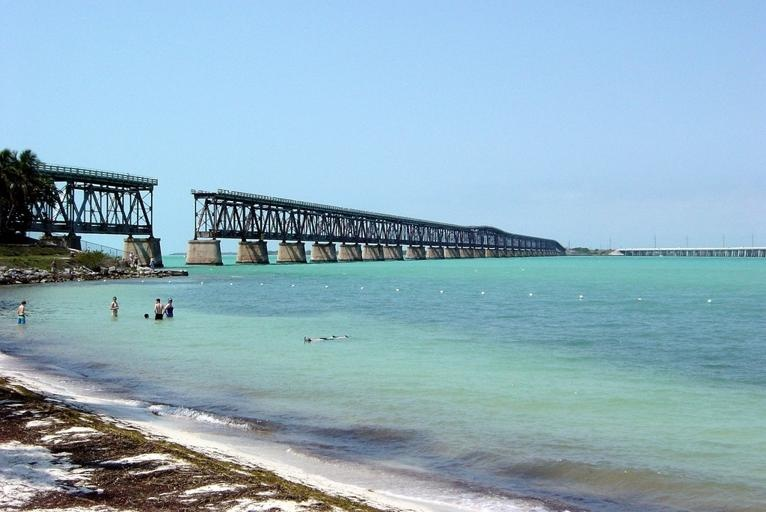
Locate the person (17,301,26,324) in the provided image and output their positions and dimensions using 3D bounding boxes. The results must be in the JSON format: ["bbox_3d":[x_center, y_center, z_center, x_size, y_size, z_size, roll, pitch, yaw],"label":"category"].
[{"bbox_3d":[-22.264,3.491,44.885,0.401,1.429,3.404,-2,0,-27],"label":"person"}]

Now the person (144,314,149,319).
[{"bbox_3d":[-16.318,4.136,50.138,0.253,0.298,0.784,2,11,-9],"label":"person"}]
